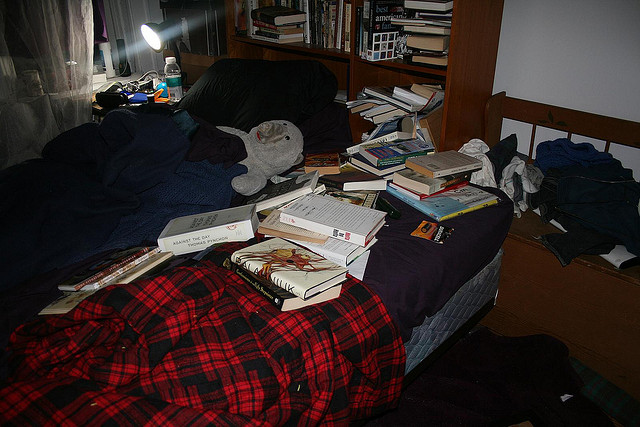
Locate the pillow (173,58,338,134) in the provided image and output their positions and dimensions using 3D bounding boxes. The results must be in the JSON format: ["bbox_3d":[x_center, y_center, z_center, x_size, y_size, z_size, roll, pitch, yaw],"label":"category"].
[{"bbox_3d":[-0.377,-0.734,2.326,0.702,0.188,0.684,22,58,28],"label":"pillow"}]

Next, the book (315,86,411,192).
[{"bbox_3d":[0.307,-0.357,1.962,0.484,0.147,0.672,26,39,37],"label":"book"}]

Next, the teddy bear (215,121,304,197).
[{"bbox_3d":[-0.285,-0.248,1.827,0.292,0.194,0.249,-26,65,-9],"label":"teddy bear"}]

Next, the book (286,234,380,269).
[{"bbox_3d":[0.051,0.130,1.466,0.157,0.029,0.155,26,38,36],"label":"book"}]

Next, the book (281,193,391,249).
[{"bbox_3d":[0.042,0.027,1.521,0.311,0.047,0.205,18,37,18],"label":"book"}]

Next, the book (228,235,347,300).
[{"bbox_3d":[-0.110,0.184,1.363,0.341,0.083,0.235,20,33,38],"label":"book"}]

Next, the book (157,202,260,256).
[{"bbox_3d":[-0.435,0.061,1.507,0.260,0.054,0.242,-15,27,-21],"label":"book"}]

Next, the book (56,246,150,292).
[{"bbox_3d":[-0.790,0.201,1.430,0.312,0.079,0.149,-23,33,-37],"label":"book"}]
